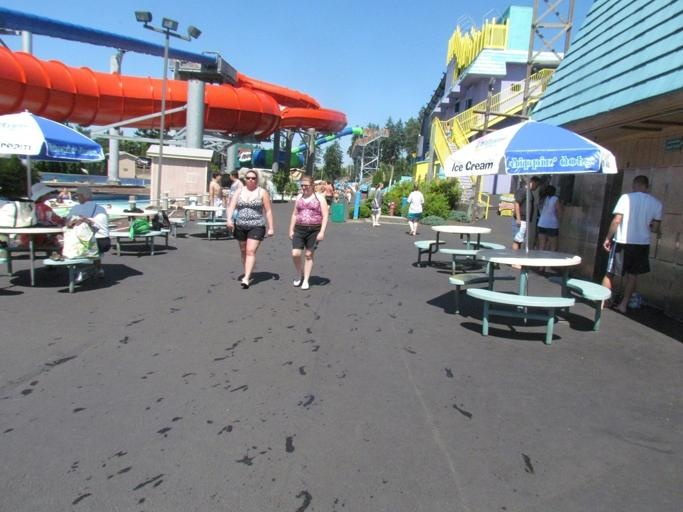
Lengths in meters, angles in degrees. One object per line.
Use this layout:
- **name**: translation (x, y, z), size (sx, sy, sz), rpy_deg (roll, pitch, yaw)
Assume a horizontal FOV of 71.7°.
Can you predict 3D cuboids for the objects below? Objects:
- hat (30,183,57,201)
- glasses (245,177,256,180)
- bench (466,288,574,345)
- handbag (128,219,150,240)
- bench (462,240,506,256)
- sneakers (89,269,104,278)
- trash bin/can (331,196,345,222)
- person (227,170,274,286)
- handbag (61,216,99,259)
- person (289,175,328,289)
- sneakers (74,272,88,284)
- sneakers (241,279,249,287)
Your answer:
- **hat**: translation (-5.399, -1.146, 8.504), size (0.329, 0.298, 0.455), rpy_deg (-7, 16, -33)
- **glasses**: translation (-1.531, -1.320, 8.012), size (0.192, 0.084, 0.109), rpy_deg (-5, 15, -26)
- **bench**: translation (2.493, 0.711, 6.571), size (1.245, 0.641, 1.511), rpy_deg (9, 15, 26)
- **handbag**: translation (-4.359, -0.587, 10.146), size (0.463, 0.218, 0.364), rpy_deg (-7, 1, 42)
- **bench**: translation (3.215, -0.223, 10.661), size (0.833, 0.206, 0.856), rpy_deg (1, 9, 2)
- **sneakers**: translation (-4.272, 0.282, 8.273), size (0.127, 0.162, 0.236), rpy_deg (4, 19, 4)
- **trash bin/can**: translation (-0.159, -2.022, 22.004), size (0.632, 0.816, 1.031), rpy_deg (1, 13, -2)
- **person**: translation (-1.598, -0.473, 8.199), size (0.752, 2.038, 0.667), rpy_deg (-1, 14, -11)
- **handbag**: translation (-4.261, -0.207, 7.713), size (0.615, 0.646, 0.356), rpy_deg (-6, 0, 8)
- **person**: translation (-0.602, -0.397, 8.244), size (0.691, 1.995, 0.509), rpy_deg (12, 17, 38)
- **sneakers**: translation (-4.384, 0.357, 7.960), size (0.175, 0.241, 0.085), rpy_deg (8, 8, -40)
- **sneakers**: translation (-1.663, 0.464, 8.154), size (0.134, 0.165, 0.181), rpy_deg (-3, 14, -18)
